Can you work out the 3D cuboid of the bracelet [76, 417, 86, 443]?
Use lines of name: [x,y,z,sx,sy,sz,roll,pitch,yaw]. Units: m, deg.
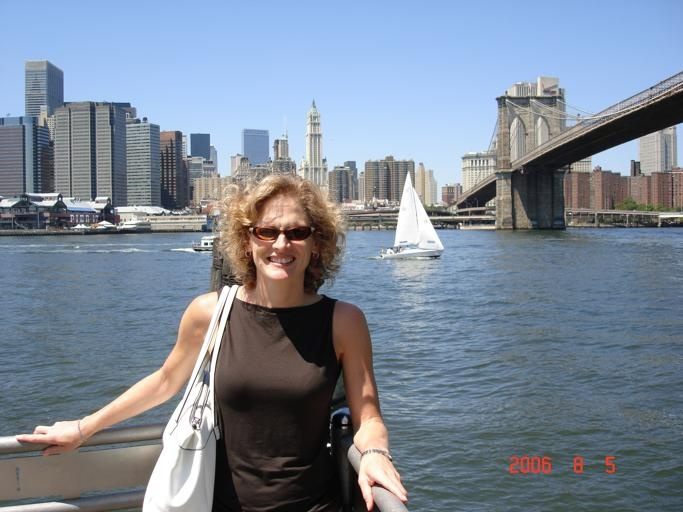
bracelet: [-2.240,1.513,8.157,0.100,0.217,0.126,11,-13,-28]
